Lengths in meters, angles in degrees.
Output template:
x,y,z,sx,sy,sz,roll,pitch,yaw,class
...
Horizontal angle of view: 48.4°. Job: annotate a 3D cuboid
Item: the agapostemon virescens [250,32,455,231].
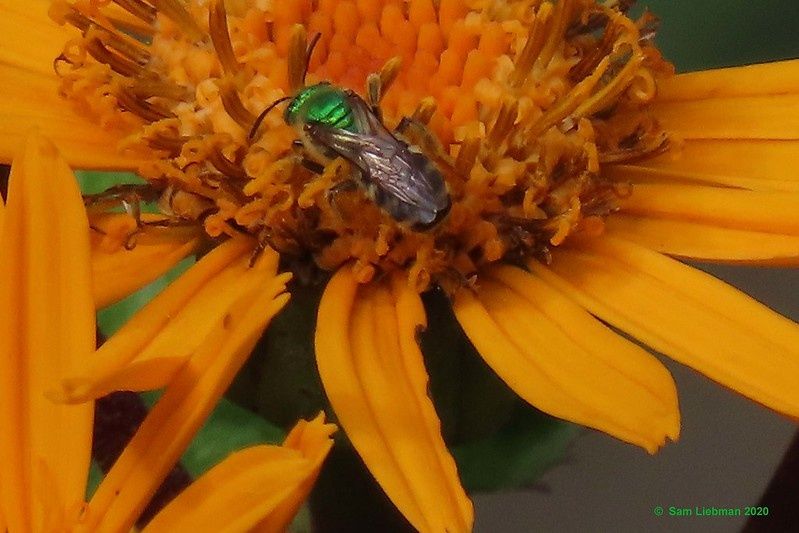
x,y,z,sx,sy,sz,roll,pitch,yaw,class
-0.041,-0.168,1.181,0.177,0.241,0.074,-48,-12,-11,agapostemon virescens
